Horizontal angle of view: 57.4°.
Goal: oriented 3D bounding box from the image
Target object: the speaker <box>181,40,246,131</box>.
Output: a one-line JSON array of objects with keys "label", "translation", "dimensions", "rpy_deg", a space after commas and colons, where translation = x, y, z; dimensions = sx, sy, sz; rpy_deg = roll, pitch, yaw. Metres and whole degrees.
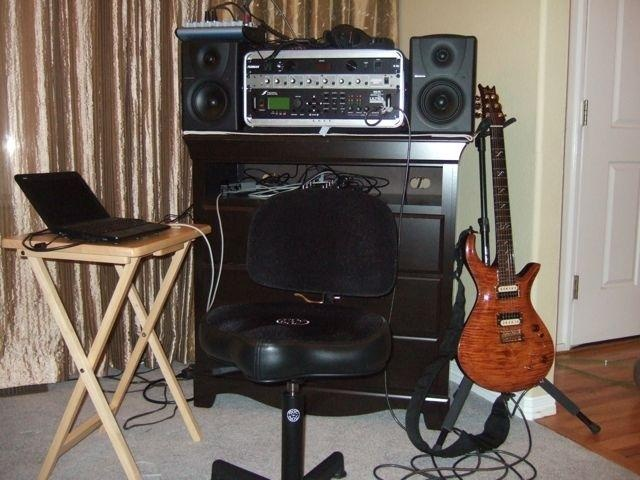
[{"label": "speaker", "translation": [-0.502, -0.707, 2.692], "dimensions": [0.260, 0.391, 0.081], "rpy_deg": [4, 15, 18]}]

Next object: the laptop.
[{"label": "laptop", "translation": [-0.913, -0.151, 2.358], "dimensions": [0.470, 0.248, 0.309], "rpy_deg": [5, 16, 19]}]

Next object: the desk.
[{"label": "desk", "translation": [-0.886, 0.434, 2.504], "dimensions": [0.564, 0.986, 0.736], "rpy_deg": [8, 17, 31]}]

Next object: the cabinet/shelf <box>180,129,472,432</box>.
[{"label": "cabinet/shelf", "translation": [0.031, 0.192, 2.506], "dimensions": [1.305, 1.432, 0.531], "rpy_deg": [1, 7, 4]}]

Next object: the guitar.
[{"label": "guitar", "translation": [0.834, 0.002, 2.506], "dimensions": [0.398, 1.286, 0.441], "rpy_deg": [5, 15, 20]}]
